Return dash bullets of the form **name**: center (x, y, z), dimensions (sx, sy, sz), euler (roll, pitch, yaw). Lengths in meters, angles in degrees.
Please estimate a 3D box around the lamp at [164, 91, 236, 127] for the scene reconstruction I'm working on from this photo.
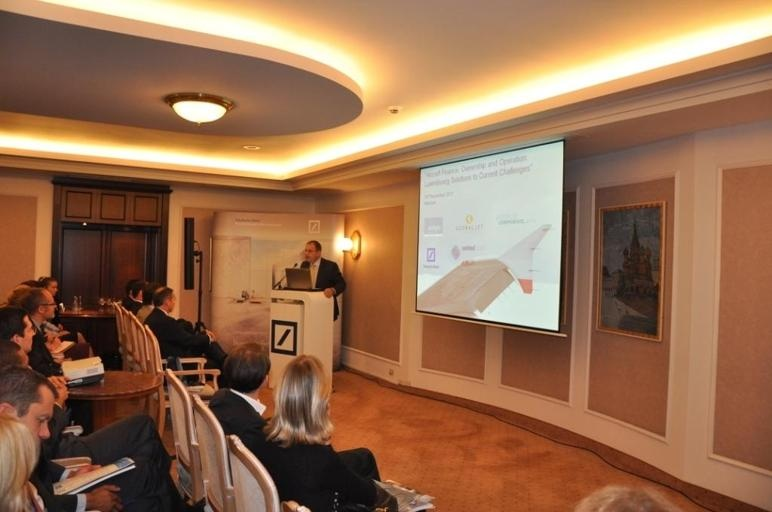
- **lamp**: center (-1.999, -1.541, 5.903), dimensions (0.670, 0.193, 0.662), euler (3, -7, -30)

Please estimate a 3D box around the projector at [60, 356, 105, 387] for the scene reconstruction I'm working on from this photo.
- **projector**: center (-2.886, 1.093, 5.258), dimensions (0.277, 0.227, 0.349), euler (-23, -16, 41)
